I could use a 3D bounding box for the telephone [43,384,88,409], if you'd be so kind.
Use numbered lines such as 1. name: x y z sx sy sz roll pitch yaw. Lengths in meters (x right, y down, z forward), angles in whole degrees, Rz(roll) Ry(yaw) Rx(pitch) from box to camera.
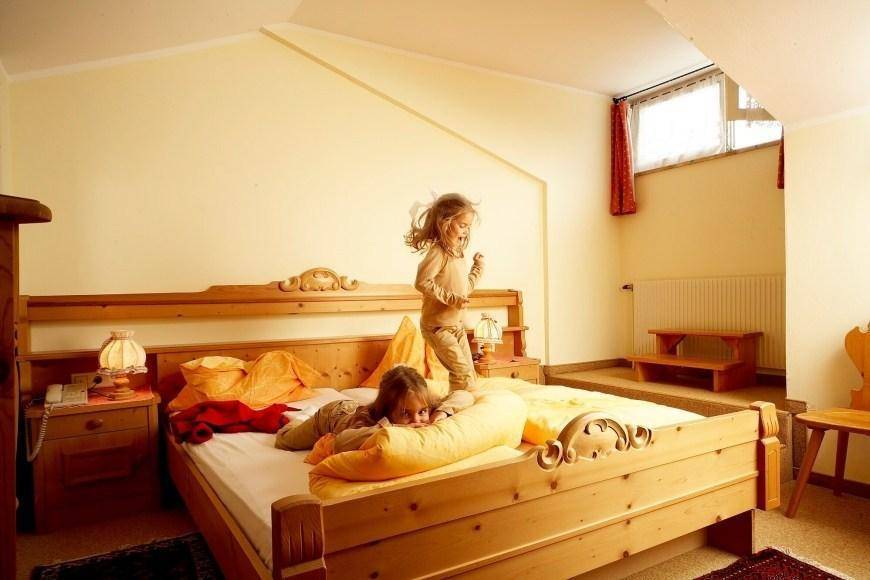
1. telephone: -2.394 0.690 3.703 0.169 0.041 0.174 0 25 -40

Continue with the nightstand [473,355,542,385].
1. nightstand: 0.634 0.573 4.968 0.471 0.390 0.278 -2 3 -32

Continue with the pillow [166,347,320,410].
1. pillow: -1.323 0.645 4.125 0.617 0.182 0.502 -1 14 -34

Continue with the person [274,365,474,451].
1. person: -0.436 0.596 3.157 0.909 0.379 0.504 -6 6 44

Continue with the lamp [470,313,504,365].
1. lamp: 0.416 0.455 5.024 0.363 0.481 0.360 0 -3 -21

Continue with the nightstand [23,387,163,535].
1. nightstand: -2.222 1.035 4.011 0.970 1.024 0.708 0 -3 -30
